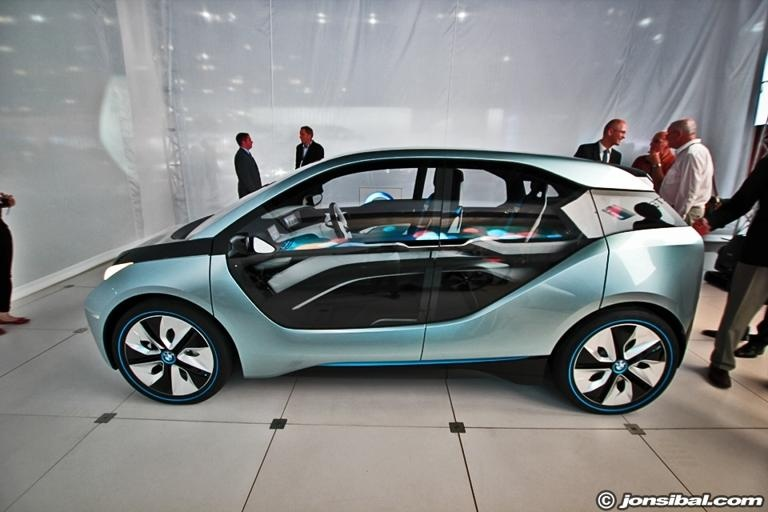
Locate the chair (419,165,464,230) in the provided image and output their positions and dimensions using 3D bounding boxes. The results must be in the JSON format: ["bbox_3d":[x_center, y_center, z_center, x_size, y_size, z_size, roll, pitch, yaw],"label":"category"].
[{"bbox_3d":[0.421,-0.448,3.445,0.319,0.539,0.307,10,-5,-13],"label":"chair"}]

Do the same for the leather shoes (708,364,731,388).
[{"bbox_3d":[3.020,1.078,3.818,0.116,0.119,0.274,2,12,7],"label":"leather shoes"}]
